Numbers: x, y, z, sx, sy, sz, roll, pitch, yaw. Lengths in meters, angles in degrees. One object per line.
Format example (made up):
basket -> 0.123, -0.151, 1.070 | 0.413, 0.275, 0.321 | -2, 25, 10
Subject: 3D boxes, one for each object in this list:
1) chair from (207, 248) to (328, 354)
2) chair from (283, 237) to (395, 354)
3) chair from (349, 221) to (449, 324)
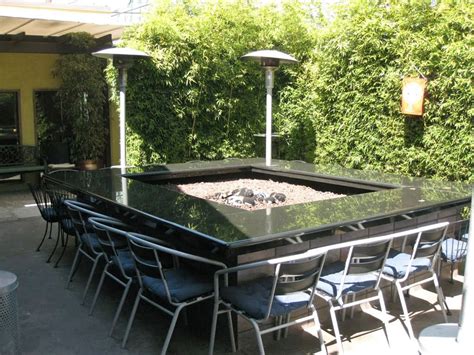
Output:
chair -> 0.208, 0.953, 3.320 | 0.678, 0.864, 0.631 | -10, 20, -35
chair -> 0.810, 0.971, 3.495 | 0.643, 1.058, 0.720 | -11, 21, -23
chair -> 1.511, 0.851, 3.826 | 0.525, 0.905, 0.638 | -8, 6, -33
